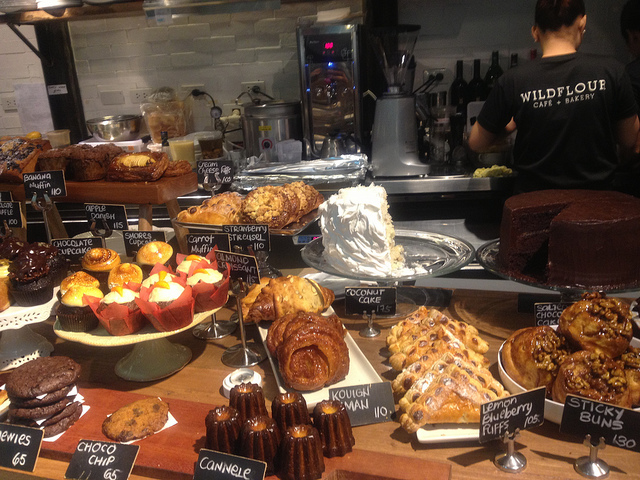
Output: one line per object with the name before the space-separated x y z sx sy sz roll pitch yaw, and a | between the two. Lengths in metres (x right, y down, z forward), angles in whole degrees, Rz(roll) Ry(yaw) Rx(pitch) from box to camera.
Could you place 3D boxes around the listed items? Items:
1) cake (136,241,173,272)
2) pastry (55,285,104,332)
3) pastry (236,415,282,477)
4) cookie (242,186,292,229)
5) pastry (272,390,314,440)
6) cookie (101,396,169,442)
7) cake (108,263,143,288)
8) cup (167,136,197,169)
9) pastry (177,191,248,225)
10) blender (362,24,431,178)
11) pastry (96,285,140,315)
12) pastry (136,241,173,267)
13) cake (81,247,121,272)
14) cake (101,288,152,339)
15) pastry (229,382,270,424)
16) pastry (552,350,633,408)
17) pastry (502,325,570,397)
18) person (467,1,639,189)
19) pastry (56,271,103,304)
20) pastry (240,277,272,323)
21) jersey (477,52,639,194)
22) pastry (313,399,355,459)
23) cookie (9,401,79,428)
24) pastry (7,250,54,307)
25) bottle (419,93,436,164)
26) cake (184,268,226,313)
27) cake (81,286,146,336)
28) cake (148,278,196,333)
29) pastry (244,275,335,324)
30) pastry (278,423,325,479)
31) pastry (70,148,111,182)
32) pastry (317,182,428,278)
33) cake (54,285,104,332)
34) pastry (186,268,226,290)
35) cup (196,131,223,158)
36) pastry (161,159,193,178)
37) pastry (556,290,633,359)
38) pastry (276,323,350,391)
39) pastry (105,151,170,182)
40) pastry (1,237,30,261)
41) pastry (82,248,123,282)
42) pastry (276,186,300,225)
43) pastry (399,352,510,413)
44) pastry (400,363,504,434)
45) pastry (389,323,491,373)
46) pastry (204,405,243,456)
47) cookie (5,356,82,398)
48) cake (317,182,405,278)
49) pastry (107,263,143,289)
cake | -0.671 0.048 1.902 0.119 0.045 0.125 -20 60 -18
pastry | -0.826 0.237 1.642 0.137 0.127 0.160 1 -2 -9
pastry | -0.143 0.518 1.231 0.126 0.120 0.130 4 4 3
cookie | -0.219 -0.122 1.992 0.183 0.072 0.162 16 52 13
pastry | -0.076 0.465 1.291 0.097 0.097 0.100 -10 14 -18
cookie | -0.549 0.526 1.403 0.176 0.054 0.208 4 12 -7
cake | -0.706 0.127 1.704 0.093 0.047 0.093 4 20 7
cup | -0.876 -0.553 2.936 0.214 0.215 0.210 2 29 -1
pastry | -0.481 -0.123 2.072 0.305 0.095 0.357 -7 17 -13
blender | 0.551 -0.996 3.348 0.420 1.032 0.644 -2 17 3
pastry | -0.651 0.187 1.523 0.093 0.059 0.096 -2 -2 34
pastry | -0.670 0.056 1.890 0.139 0.082 0.111 4 18 22
cake | -0.858 0.074 1.849 0.152 0.073 0.128 5 18 25
cake | -0.621 0.226 1.544 0.156 0.124 0.161 -2 -2 36
pastry | -0.198 0.446 1.326 0.093 0.066 0.096 3 5 34
pastry | 0.732 0.375 1.256 0.192 0.124 0.133 4 18 24
pastry | 0.605 0.342 1.349 0.171 0.108 0.174 -19 36 2
person | 1.302 -0.764 2.561 0.885 0.997 0.303 2 17 16
pastry | -0.855 0.157 1.669 0.119 0.046 0.127 0 3 -5
pastry | -0.236 0.225 1.721 0.083 0.125 0.227 17 7 3
jersey | 1.338 -0.622 2.617 0.912 0.908 0.509 -6 22 20
pastry | 0.039 0.513 1.308 0.121 0.116 0.124 2 16 17
cookie | -0.809 0.522 1.382 0.088 0.022 0.091 2 5 21
pastry | -1.050 0.130 1.751 0.169 0.220 0.186 8 9 44
bottle | 0.787 -0.762 3.442 0.111 0.381 0.262 0 17 12
cake | -0.389 0.161 1.593 0.145 0.116 0.138 -1 3 -31
cake | -0.670 0.227 1.571 0.197 0.149 0.199 2 14 12
cake | -0.493 0.208 1.566 0.164 0.156 0.168 -12 20 -12
pastry | -0.116 0.208 1.676 0.295 0.120 0.162 -6 15 -10
pastry | -0.045 0.546 1.241 0.113 0.111 0.122 3 10 22
pastry | -1.115 -0.368 2.317 0.168 0.128 0.169 -1 14 -12
pastry | 0.205 -0.069 1.934 0.380 0.344 0.418 -23 31 -37
cake | -0.834 0.228 1.634 0.143 0.127 0.150 -6 11 -13
pastry | -0.389 0.133 1.604 0.133 0.052 0.089 -8 17 -15
cup | -0.770 -0.670 3.264 0.194 0.155 0.199 -2 12 0
pastry | -0.717 -0.348 2.326 0.106 0.042 0.083 -11 16 14
pastry | 0.778 0.240 1.318 0.173 0.158 0.124 -5 17 -6
pastry | -0.022 0.358 1.474 0.171 0.074 0.201 -8 36 -8
pastry | -0.885 -0.353 2.268 0.215 0.078 0.169 1 17 11
pastry | -1.226 0.035 1.865 0.106 0.033 0.097 2 21 2
pastry | -0.858 0.081 1.849 0.142 0.089 0.143 -7 33 -18
pastry | -0.162 -0.150 2.094 0.045 0.144 0.145 -9 -20 39
pastry | 0.357 0.410 1.321 0.211 0.060 0.179 -24 6 -6
pastry | 0.374 0.448 1.335 0.387 0.102 0.221 0 0 -35
pastry | 0.406 0.322 1.516 0.278 0.104 0.310 -11 -4 -25
pastry | -0.248 0.501 1.287 0.104 0.101 0.102 -2 15 -33
cookie | -0.815 0.374 1.386 0.122 0.033 0.124 5 19 22
cake | 0.164 0.051 1.923 0.329 0.298 0.253 -5 -28 41
pastry | -0.705 0.125 1.716 0.100 0.056 0.102 -1 24 14
